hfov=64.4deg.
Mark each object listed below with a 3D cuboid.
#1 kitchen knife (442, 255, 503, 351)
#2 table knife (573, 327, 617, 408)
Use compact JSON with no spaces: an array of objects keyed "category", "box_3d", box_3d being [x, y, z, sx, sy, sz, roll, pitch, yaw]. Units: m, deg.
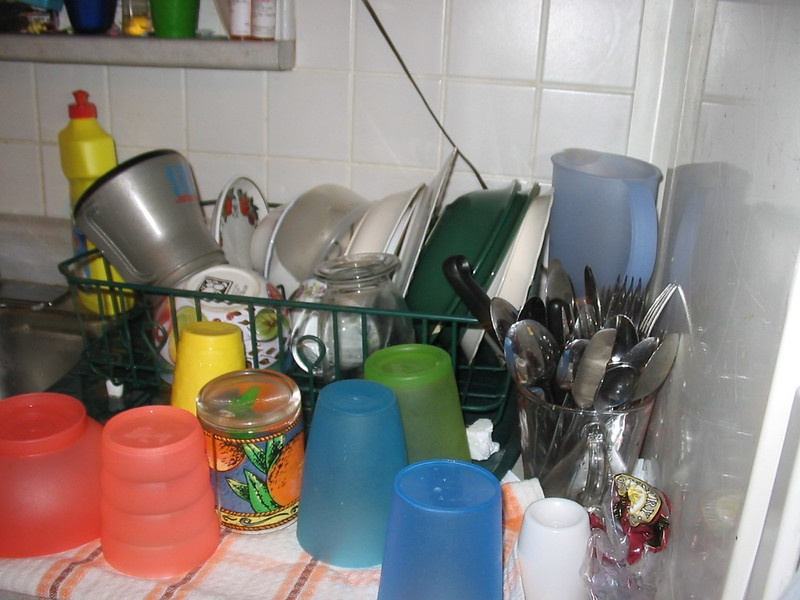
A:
[{"category":"kitchen knife","box_3d":[0.079,-0.001,0.678,0.029,0.112,0.021,-26,-4,14]},{"category":"table knife","box_3d":[0.170,0.062,0.559,0.031,0.079,0.014,4,17,16]}]
